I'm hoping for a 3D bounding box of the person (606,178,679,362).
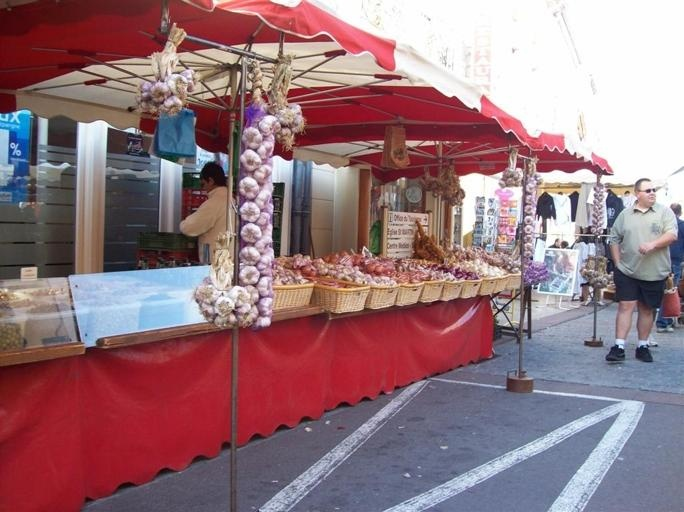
[{"bbox_3d":[3.801,0.063,6.669,0.921,2.408,0.812,7,7,40],"label":"person"}]

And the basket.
[{"bbox_3d":[0.512,0.364,5.088,0.458,0.615,1.375,3,3,39],"label":"basket"}]

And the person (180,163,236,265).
[{"bbox_3d":[-1.265,-0.381,4.753,0.525,1.299,0.594,-4,10,-42],"label":"person"}]
